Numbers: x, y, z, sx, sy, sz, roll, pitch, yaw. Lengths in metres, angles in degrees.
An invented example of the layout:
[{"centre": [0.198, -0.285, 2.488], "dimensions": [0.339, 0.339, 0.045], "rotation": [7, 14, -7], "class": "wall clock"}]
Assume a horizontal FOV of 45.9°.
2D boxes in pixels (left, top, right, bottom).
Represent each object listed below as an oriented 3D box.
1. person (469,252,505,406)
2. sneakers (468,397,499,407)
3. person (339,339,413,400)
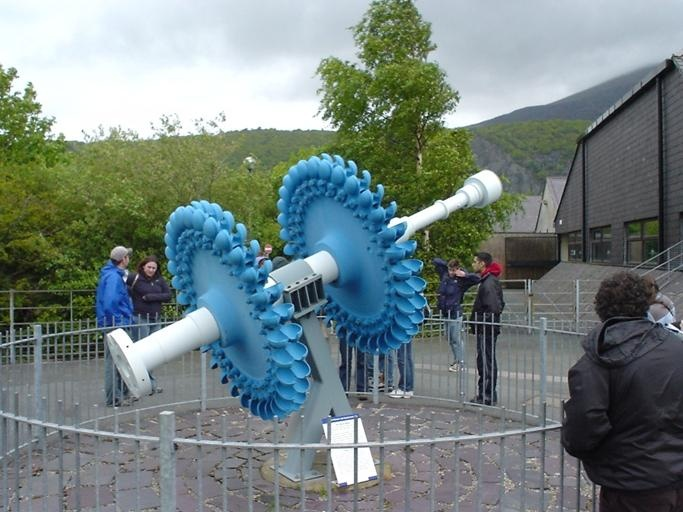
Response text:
[{"centre": [2.351, 1.162, 13.149], "dimensions": [0.562, 2.491, 1.456], "rotation": [-2, -2, 11], "class": "person"}, {"centre": [2.246, 2.341, 12.876], "dimensions": [0.294, 0.138, 0.198], "rotation": [2, 4, 6], "class": "sneakers"}, {"centre": [0.590, 1.939, 13.704], "dimensions": [0.961, 1.194, 1.164], "rotation": [-1, -6, 3], "class": "person"}]
